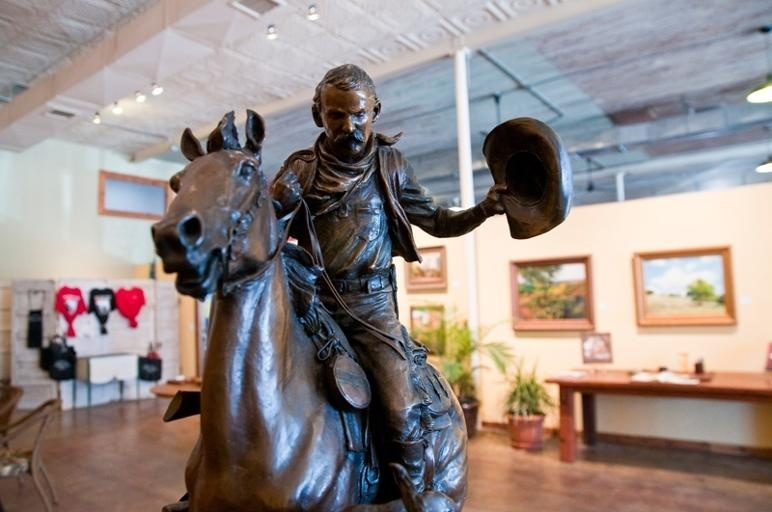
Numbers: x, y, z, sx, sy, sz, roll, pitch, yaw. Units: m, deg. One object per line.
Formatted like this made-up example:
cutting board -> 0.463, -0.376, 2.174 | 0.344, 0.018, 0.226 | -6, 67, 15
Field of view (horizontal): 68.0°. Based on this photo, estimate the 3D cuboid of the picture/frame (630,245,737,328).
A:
picture/frame -> 3.265, 0.328, 6.206 | 0.886, 0.914, 0.099 | 0, 5, 30

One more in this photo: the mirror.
mirror -> -2.525, -0.580, 5.765 | 0.854, 0.423, 0.035 | 8, 6, 18

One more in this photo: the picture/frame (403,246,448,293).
picture/frame -> 0.535, 0.174, 7.198 | 0.628, 0.653, 0.043 | 0, -2, 34

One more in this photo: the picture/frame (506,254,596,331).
picture/frame -> 2.035, 0.457, 6.928 | 0.913, 0.880, 0.076 | -1, -2, 32

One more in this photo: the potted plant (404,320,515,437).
potted plant -> 0.806, 1.449, 7.748 | 1.667, 1.962, 1.524 | 1, -9, -4

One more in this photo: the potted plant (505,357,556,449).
potted plant -> 1.680, 1.804, 6.753 | 0.573, 0.907, 0.610 | 5, -11, -12

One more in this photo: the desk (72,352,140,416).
desk -> -2.706, 1.226, 5.494 | 0.267, 0.629, 0.835 | -2, -8, 17
